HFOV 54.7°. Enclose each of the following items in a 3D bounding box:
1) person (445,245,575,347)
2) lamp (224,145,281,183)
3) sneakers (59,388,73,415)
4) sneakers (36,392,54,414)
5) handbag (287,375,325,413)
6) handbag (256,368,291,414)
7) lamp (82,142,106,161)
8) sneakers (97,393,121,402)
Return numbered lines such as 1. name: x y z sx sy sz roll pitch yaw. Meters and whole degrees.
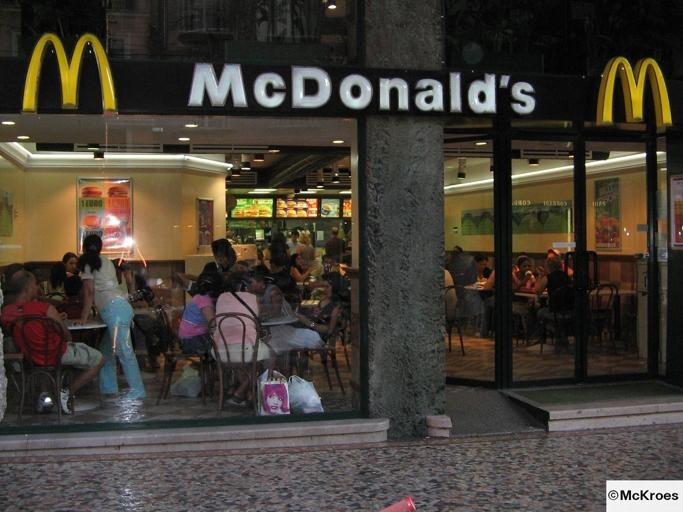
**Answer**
1. person: 2.164 0.456 8.253 1.162 0.768 1.068 1 6 11
2. lamp: -1.063 -1.046 7.860 0.629 0.413 0.718 0 -1 -10
3. sneakers: -2.644 1.405 6.348 0.100 0.230 0.087 0 -1 -22
4. sneakers: -2.817 1.408 6.303 0.131 0.165 0.171 3 16 -41
5. handbag: -0.343 1.381 6.732 0.520 0.423 0.264 -1 0 3
6. handbag: -0.693 1.379 6.611 0.380 0.516 0.185 1 -18 -9
7. lamp: -2.569 -1.102 6.943 0.180 0.145 0.282 0 -1 -40
8. sneakers: -2.282 1.404 6.502 0.197 0.080 0.069 7 -6 -22
